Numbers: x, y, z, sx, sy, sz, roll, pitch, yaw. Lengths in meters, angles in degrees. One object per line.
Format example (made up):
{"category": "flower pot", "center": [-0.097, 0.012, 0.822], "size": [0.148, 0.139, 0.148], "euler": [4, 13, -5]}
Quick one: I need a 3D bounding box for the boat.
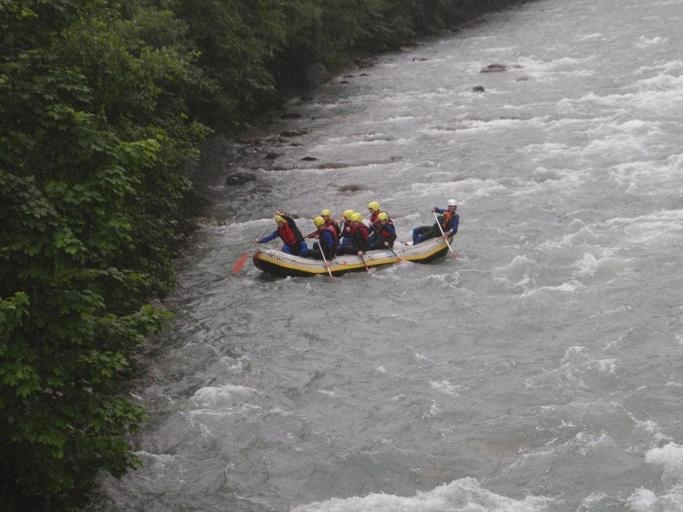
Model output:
{"category": "boat", "center": [0.379, 0.048, 38.278], "size": [7.151, 1.281, 2.378], "euler": [-4, 10, -9]}
